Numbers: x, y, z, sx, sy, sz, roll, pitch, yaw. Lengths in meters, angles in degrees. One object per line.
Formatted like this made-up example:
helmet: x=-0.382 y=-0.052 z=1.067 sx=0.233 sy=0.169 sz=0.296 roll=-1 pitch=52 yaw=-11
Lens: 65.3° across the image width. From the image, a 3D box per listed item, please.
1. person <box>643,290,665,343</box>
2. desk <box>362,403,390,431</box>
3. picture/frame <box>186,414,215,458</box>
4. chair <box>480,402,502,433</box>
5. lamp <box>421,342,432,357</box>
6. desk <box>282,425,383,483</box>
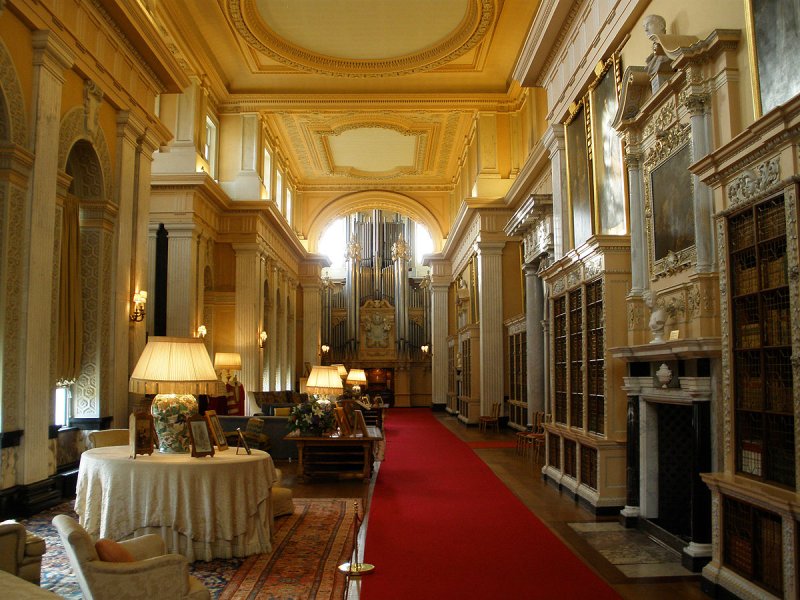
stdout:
person: x=2.633 y=0.156 z=6.453 sx=0.192 sy=0.603 sz=0.792 roll=-5 pitch=-7 yaw=22
desk: x=-0.658 y=3.051 z=16.394 sx=0.893 sy=1.013 sz=0.763 roll=-1 pitch=-10 yaw=1
picture/frame: x=-1.876 y=1.285 z=5.836 sx=0.074 sy=0.437 sz=0.304 roll=-23 pitch=-17 yaw=17
chair: x=2.484 y=3.201 z=16.924 sx=0.600 sy=1.016 sz=0.570 roll=2 pitch=-7 yaw=-7
lamp: x=1.190 y=2.251 z=28.562 sx=0.432 sy=0.929 sz=0.469 roll=2 pitch=-9 yaw=3
desk: x=-1.061 y=2.515 z=10.126 sx=1.503 sy=0.808 sz=1.706 roll=2 pitch=-5 yaw=-16
